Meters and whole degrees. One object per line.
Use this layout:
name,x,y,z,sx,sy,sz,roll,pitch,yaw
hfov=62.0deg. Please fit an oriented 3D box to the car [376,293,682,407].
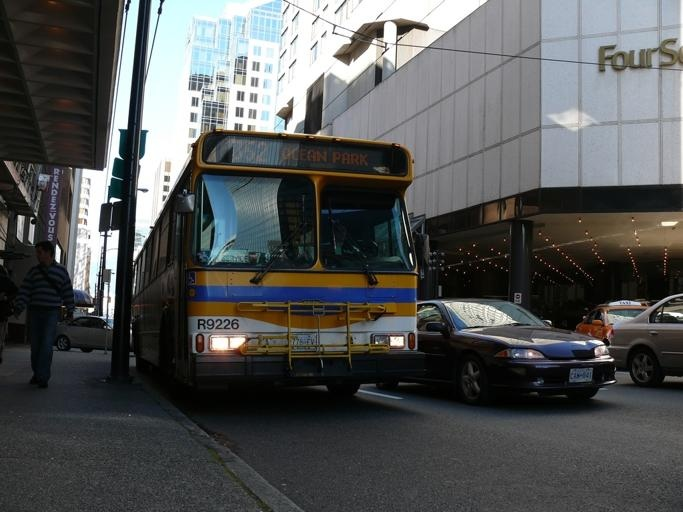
car,2.934,1.680,10.321,1.916,1.882,3.230,6,-8,-39

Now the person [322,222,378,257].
person,0.211,-0.280,9.304,0.907,0.472,1.243,0,-12,8

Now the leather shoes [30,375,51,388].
leather shoes,-5.138,2.127,9.713,0.175,0.257,0.567,5,-8,-43

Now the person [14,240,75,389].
person,-4.925,0.975,9.409,0.811,2.414,0.734,4,-7,-23
